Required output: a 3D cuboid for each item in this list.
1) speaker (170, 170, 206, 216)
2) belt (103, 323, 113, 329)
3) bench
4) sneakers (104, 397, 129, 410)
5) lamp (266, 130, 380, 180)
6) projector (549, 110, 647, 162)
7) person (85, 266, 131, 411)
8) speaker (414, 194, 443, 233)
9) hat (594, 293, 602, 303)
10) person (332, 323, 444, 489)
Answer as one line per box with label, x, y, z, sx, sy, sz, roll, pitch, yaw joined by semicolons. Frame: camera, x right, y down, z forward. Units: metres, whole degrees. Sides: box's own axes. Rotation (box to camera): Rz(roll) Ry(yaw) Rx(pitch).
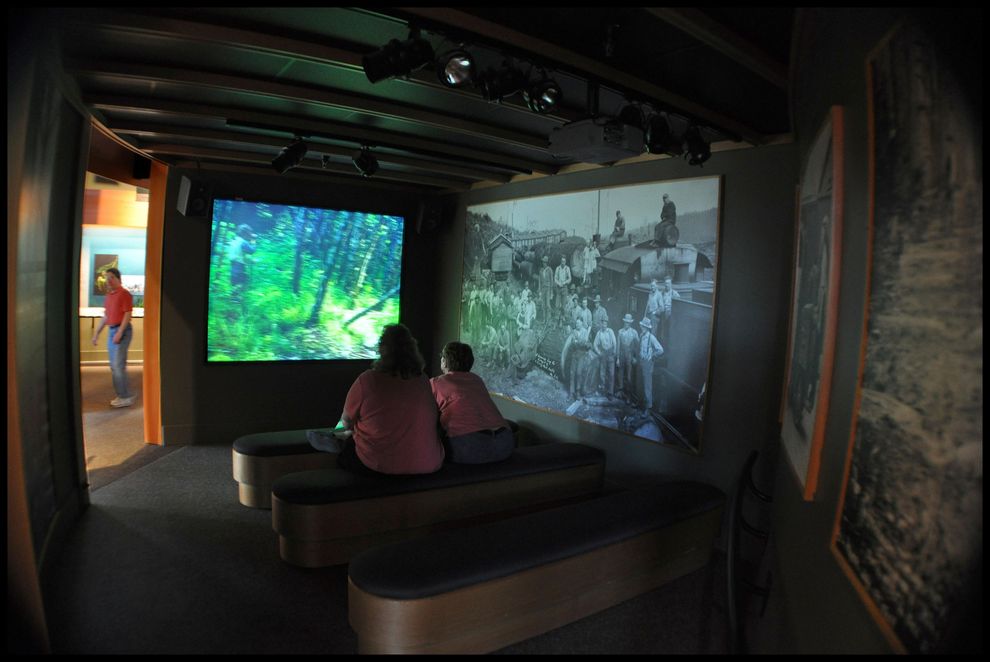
speaker;-3.015;-1.403;6.547;0.356;0.451;0.453;-13;7;-14
belt;-4.515;-0.051;7.467;0.120;0.050;0.043;1;10;1
bench;-0.214;1.294;4.164;3.347;0.749;2.096;3;10;15
sneakers;-4.659;0.906;7.959;0.137;0.135;0.325;7;-2;44
lamp;-1.595;-1.539;5.638;0.837;0.297;0.922;-5;11;-26
projector;0.697;-1.342;4.445;0.536;0.262;0.698;-5;7;-39
person;-4.589;0.118;7.697;0.315;1.718;0.764;-6;11;-31
speaker;-0.798;-1.403;7.574;0.340;0.540;0.298;5;17;-21
hat;0.909;-0.284;5.580;0.064;0.068;0.043;1;1;1
person;-1.002;0.483;4.556;0.744;1.081;0.981;2;12;-20
